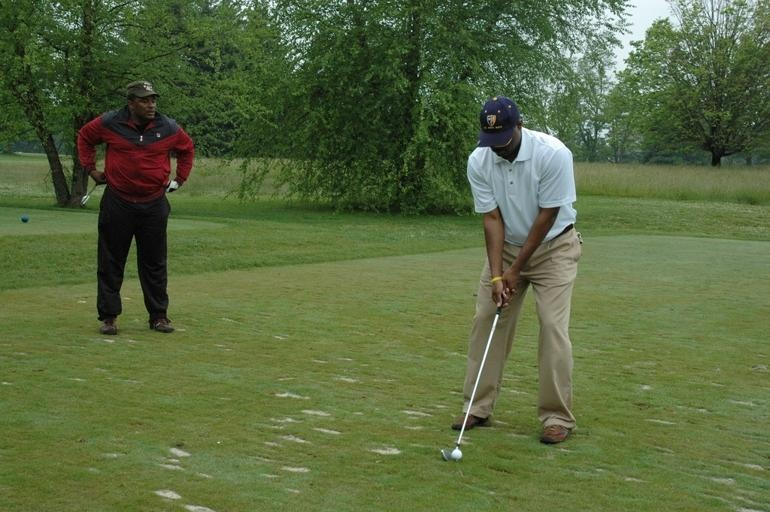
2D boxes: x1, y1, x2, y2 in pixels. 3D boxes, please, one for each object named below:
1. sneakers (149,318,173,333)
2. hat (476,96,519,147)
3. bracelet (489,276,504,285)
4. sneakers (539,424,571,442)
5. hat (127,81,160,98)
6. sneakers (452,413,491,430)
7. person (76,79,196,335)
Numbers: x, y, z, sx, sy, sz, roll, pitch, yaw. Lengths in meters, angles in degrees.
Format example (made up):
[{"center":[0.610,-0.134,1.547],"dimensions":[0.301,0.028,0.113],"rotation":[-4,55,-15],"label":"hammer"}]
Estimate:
[{"center":[-2.505,0.771,8.393],"dimensions":[0.317,0.122,0.128],"rotation":[0,6,35],"label":"sneakers"},{"center":[0.942,-1.117,6.271],"dimensions":[0.338,0.426,0.188],"rotation":[2,5,8],"label":"hat"},{"center":[0.946,0.201,6.415],"dimensions":[0.089,0.068,0.056],"rotation":[2,5,5],"label":"bracelet"},{"center":[1.376,1.447,6.162],"dimensions":[0.107,0.093,0.275],"rotation":[-8,-6,37],"label":"sneakers"},{"center":[-2.717,-1.797,8.170],"dimensions":[0.340,0.146,0.249],"rotation":[7,13,24],"label":"hat"},{"center":[0.713,1.405,6.442],"dimensions":[0.369,0.145,0.121],"rotation":[7,-6,-34],"label":"sneakers"},{"center":[-2.785,-0.551,8.359],"dimensions":[1.194,2.734,0.661],"rotation":[0,5,-19],"label":"person"}]
